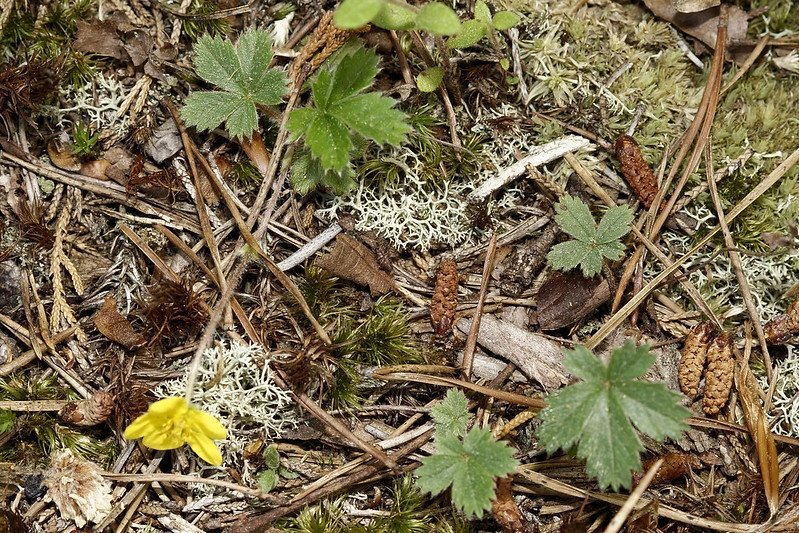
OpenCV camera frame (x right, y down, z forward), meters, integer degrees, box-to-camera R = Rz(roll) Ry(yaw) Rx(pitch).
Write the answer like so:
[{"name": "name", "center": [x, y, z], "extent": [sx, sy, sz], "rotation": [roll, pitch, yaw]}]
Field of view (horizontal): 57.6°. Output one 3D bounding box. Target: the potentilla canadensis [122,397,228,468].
[{"name": "potentilla canadensis", "center": [-1.170, 0.834, 3.795], "extent": [0.418, 0.430, 0.222], "rotation": [9, 43, -14]}]
